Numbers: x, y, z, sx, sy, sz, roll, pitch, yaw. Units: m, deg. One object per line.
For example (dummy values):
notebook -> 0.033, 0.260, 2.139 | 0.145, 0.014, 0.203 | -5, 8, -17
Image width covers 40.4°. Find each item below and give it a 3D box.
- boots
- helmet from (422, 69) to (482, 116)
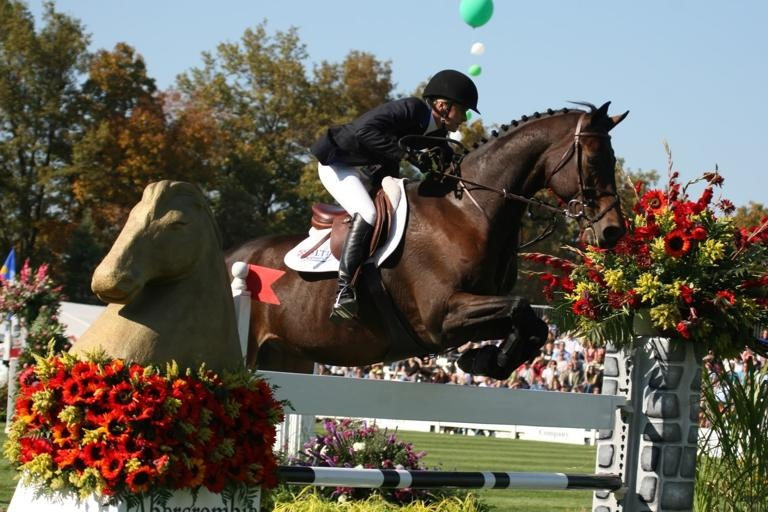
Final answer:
boots -> -0.258, 0.079, 9.012 | 0.305, 0.927, 0.179 | 5, -17, -4
helmet -> 0.612, -1.523, 9.451 | 0.541, 0.310, 0.409 | 10, 7, 9
